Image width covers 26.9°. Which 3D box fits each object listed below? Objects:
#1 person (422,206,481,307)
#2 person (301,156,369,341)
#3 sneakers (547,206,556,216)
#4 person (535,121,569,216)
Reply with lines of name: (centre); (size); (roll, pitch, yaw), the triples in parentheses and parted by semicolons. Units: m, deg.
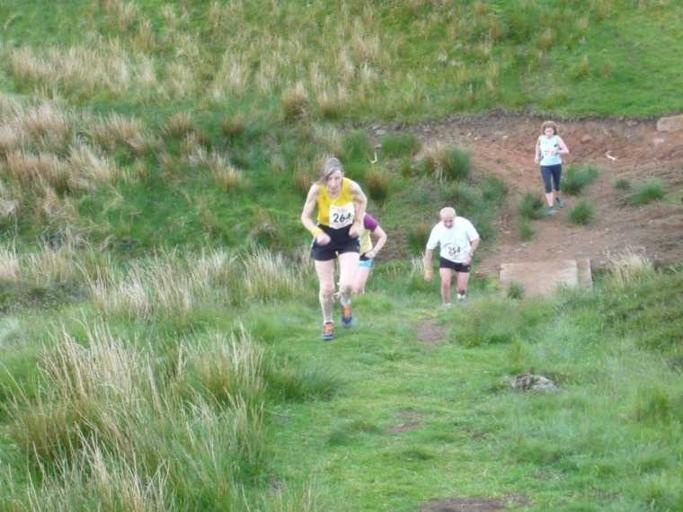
person: (2.149, 0.110, 27.950); (0.797, 2.021, 1.207); (7, 44, 20)
person: (-0.097, -0.101, 25.015); (1.067, 3.189, 0.713); (-4, 15, -8)
sneakers: (4.464, -0.946, 30.488); (0.128, 0.182, 0.356); (-2, -2, 5)
person: (4.415, -1.908, 30.205); (0.615, 2.124, 1.004); (1, 16, 8)
